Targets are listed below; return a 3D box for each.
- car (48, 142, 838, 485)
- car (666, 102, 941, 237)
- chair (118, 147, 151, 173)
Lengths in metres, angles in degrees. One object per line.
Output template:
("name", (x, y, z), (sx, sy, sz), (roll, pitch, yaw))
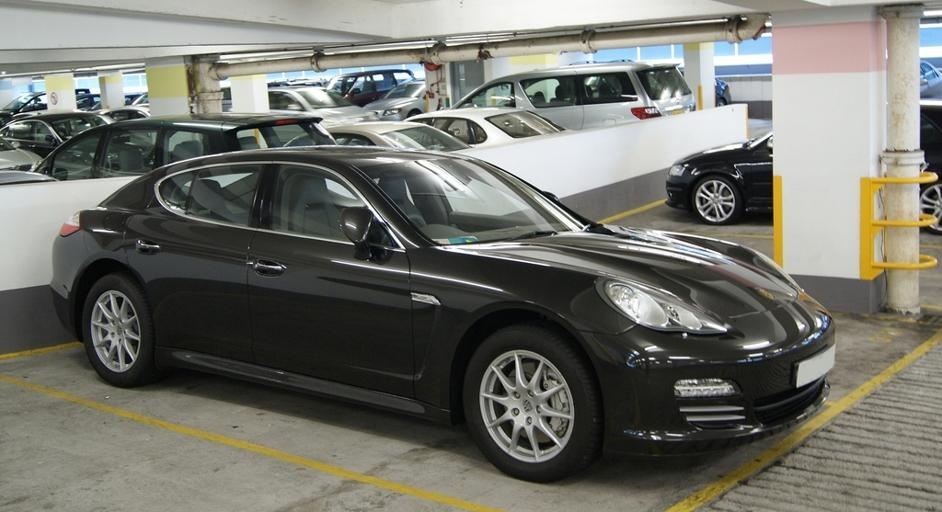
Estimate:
("car", (-0.451, 0.300, 5.092), (6.448, 2.589, 2.108), (4, 15, 27))
("car", (6.395, -1.563, 11.175), (4.867, 1.376, 1.924), (2, 10, 20))
("chair", (-5.020, -1.416, 8.283), (0.471, 0.414, 0.495), (-7, 18, -27))
